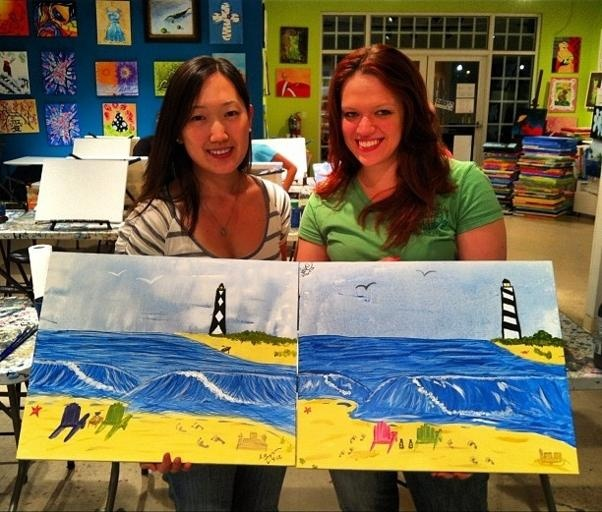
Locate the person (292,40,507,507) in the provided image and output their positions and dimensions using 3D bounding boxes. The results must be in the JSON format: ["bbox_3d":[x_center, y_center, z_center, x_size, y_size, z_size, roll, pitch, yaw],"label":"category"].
[{"bbox_3d":[0.305,0.099,1.461,0.630,1.390,0.655,-3,16,-1],"label":"person"}]
